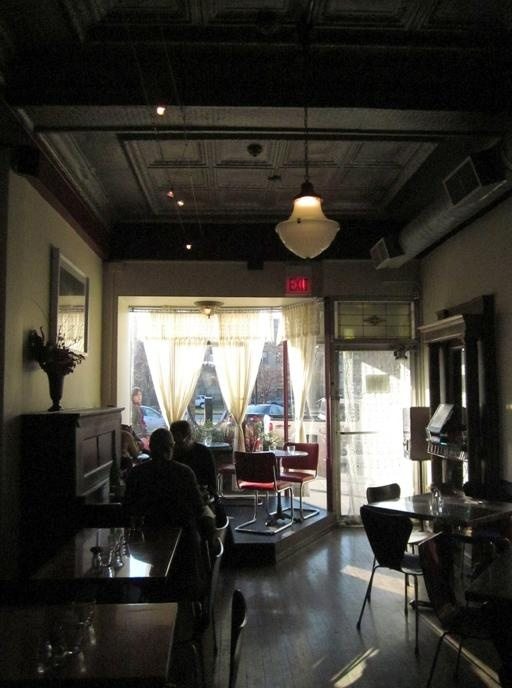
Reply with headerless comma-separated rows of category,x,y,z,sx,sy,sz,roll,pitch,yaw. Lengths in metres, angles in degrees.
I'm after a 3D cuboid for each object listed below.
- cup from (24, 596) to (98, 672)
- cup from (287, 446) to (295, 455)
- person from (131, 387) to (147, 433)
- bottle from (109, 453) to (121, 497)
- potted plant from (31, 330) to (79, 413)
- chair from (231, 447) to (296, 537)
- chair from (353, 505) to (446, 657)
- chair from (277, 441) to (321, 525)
cup,-0.593,0.899,1.571,0.104,0.203,0.187,12,-28,-27
cup,0.424,1.278,6.182,0.082,0.103,0.166,-1,-23,-1
person,-1.770,1.039,7.809,0.198,1.067,0.114,1,34,-9
bottle,-1.098,1.051,3.984,0.067,0.249,0.283,1,-6,-18
potted plant,-1.431,0.175,3.649,0.310,0.597,0.549,1,-6,-17
chair,0.110,1.539,5.519,0.466,0.976,0.637,1,6,35
chair,1.022,1.559,3.508,0.494,0.930,0.511,-1,-1,-40
chair,0.463,1.613,6.033,0.432,0.858,0.455,-3,-5,38
